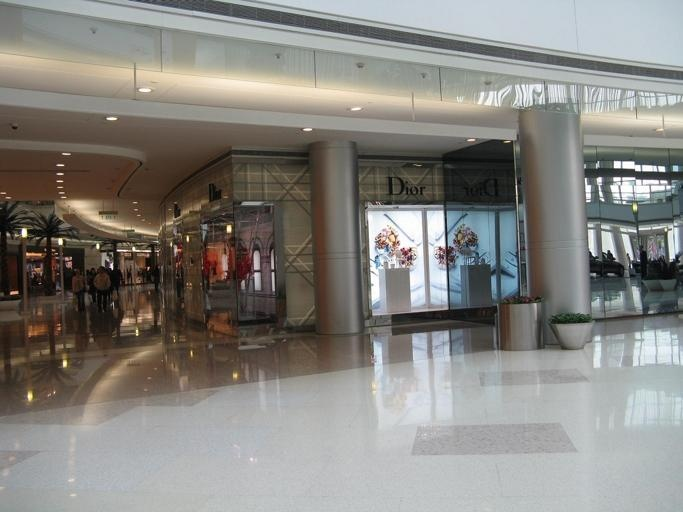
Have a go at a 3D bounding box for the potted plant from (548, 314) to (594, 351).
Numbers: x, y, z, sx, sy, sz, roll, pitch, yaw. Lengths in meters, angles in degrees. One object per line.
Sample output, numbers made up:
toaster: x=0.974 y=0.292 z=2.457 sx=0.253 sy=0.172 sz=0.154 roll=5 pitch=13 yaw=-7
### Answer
potted plant: x=4.372 y=1.464 z=10.118 sx=0.882 sy=0.515 sz=0.855 roll=-5 pitch=-1 yaw=7

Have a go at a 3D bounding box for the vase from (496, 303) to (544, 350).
vase: x=3.311 y=1.321 z=9.986 sx=0.905 sy=0.911 sz=0.881 roll=0 pitch=-5 yaw=-2

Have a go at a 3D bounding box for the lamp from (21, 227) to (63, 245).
lamp: x=-19.230 y=-1.327 z=34.309 sx=1.653 sy=0.612 sz=1.647 roll=-2 pitch=-4 yaw=30
